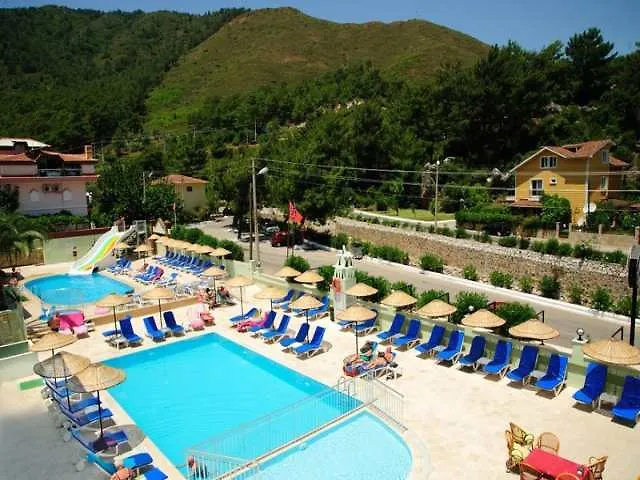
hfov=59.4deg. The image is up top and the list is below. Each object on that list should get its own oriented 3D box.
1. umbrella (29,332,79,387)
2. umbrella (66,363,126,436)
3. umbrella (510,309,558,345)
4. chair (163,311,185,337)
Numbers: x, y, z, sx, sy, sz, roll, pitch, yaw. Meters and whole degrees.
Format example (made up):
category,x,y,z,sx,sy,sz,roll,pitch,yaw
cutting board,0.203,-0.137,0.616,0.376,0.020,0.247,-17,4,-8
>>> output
category,x,y,z,sx,sy,sz,roll,pitch,yaw
umbrella,-12.136,5.014,25.724,2.297,1.847,2.412,-9,4,-10
umbrella,-9.162,6.884,23.410,1.964,3.502,2.018,9,14,32
umbrella,10.061,4.221,26.104,2.346,1.226,2.338,-16,-6,43
chair,-8.179,4.647,31.524,1.328,1.163,0.823,5,7,35
